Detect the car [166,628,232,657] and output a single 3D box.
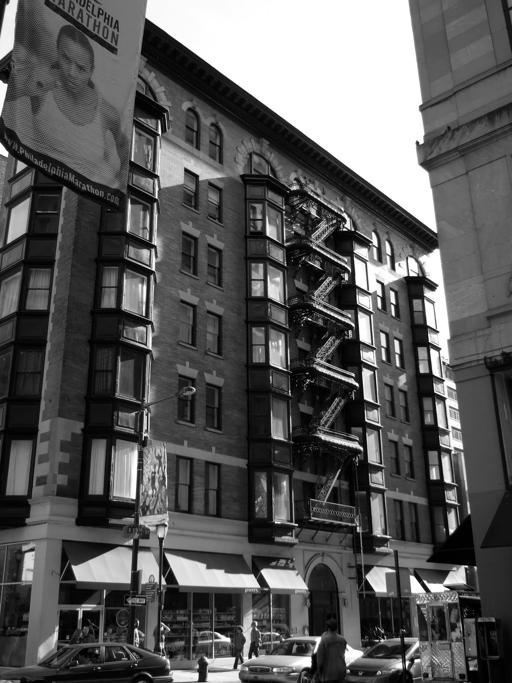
[{"bbox_3d":[-2.206,12.027,27.778,2.675,1.275,0.836,10,-13,-42],"label":"car"}]
